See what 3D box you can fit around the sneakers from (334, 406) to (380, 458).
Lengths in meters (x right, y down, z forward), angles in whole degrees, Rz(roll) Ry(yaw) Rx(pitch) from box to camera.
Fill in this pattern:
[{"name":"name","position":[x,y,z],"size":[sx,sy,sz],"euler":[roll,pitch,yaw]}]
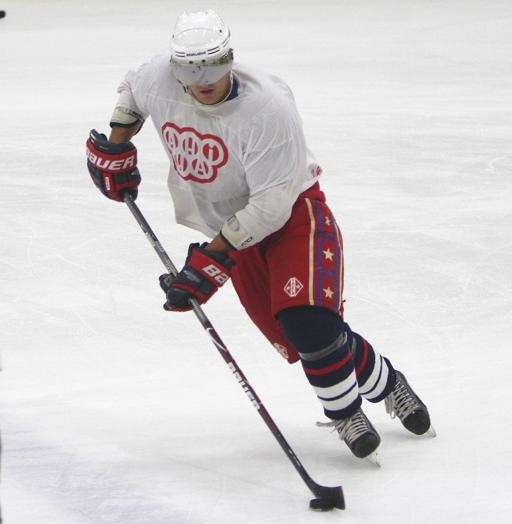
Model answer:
[{"name":"sneakers","position":[0.274,0.455,2.040],"size":[0.061,0.074,0.180],"euler":[-49,22,3]}]

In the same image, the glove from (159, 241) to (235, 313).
[{"name":"glove","position":[-0.154,0.044,2.083],"size":[0.178,0.214,0.095],"euler":[37,12,-1]}]

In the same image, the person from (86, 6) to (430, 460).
[{"name":"person","position":[-0.053,-0.071,2.147],"size":[1.014,1.254,0.535],"euler":[9,37,38]}]

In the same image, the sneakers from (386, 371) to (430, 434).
[{"name":"sneakers","position":[0.437,0.410,2.201],"size":[0.103,0.064,0.196],"euler":[24,16,-25]}]

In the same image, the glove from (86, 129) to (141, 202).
[{"name":"glove","position":[-0.418,-0.294,2.434],"size":[0.164,0.156,0.220],"euler":[-12,23,-39]}]

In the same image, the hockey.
[{"name":"hockey","position":[-0.062,0.301,2.375],"size":[0.234,0.167,1.441],"euler":[-23,22,-10]}]

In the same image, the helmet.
[{"name":"helmet","position":[-0.138,-0.569,1.966],"size":[0.190,0.156,0.179],"euler":[-8,42,2]}]
